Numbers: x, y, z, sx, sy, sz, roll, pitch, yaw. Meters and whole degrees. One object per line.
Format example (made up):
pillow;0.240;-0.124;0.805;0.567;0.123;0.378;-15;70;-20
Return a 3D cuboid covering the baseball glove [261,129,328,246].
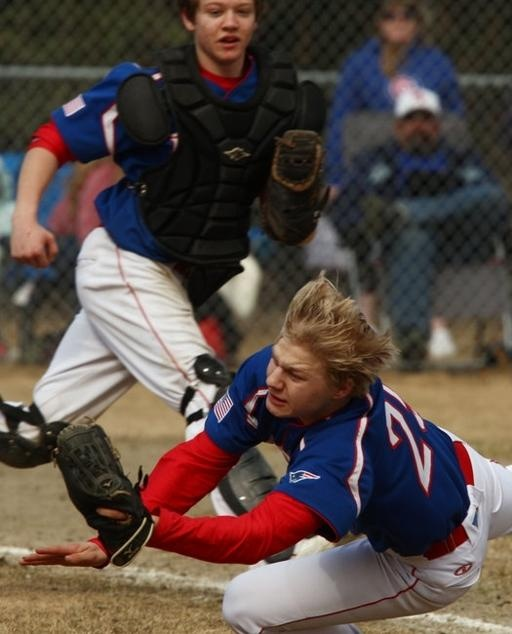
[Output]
baseball glove;0.100;-0.324;2.032;0.197;0.238;0.104;2;22;-10

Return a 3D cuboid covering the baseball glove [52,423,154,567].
baseball glove;-0.272;0.289;1.402;0.168;0.071;0.263;-20;58;-31
